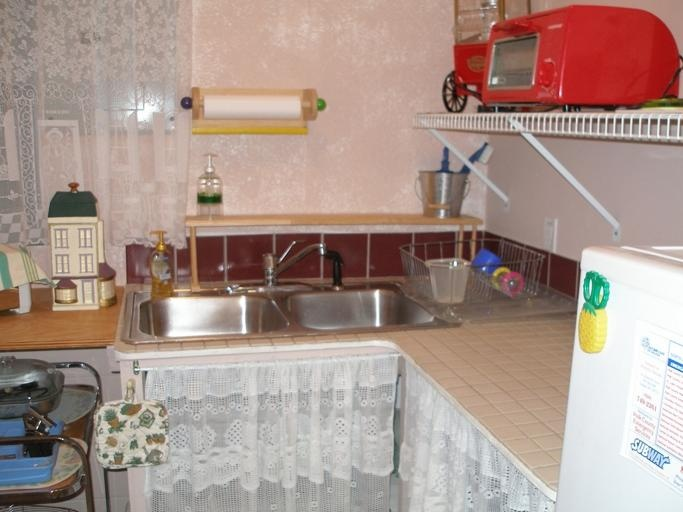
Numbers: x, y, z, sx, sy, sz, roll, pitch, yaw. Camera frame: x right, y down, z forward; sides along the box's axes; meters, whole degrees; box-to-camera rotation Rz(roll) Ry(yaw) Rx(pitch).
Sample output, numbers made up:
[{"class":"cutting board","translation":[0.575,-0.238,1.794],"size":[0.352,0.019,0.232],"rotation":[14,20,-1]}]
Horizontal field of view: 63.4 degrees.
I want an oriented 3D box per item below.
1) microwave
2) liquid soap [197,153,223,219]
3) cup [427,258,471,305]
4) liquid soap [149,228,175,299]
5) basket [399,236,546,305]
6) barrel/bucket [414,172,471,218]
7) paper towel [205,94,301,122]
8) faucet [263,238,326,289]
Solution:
[{"class":"microwave","translation":[0.659,-0.541,1.537],"size":[0.529,0.288,0.309],"rotation":[-2,9,17]},{"class":"liquid soap","translation":[-0.560,-0.294,2.345],"size":[0.121,0.256,0.172],"rotation":[-7,9,-14]},{"class":"cup","translation":[0.415,0.102,2.132],"size":[0.169,0.162,0.165],"rotation":[1,9,0]},{"class":"liquid soap","translation":[-0.737,0.036,2.236],"size":[0.089,0.272,0.122],"rotation":[-8,9,-20]},{"class":"basket","translation":[0.653,0.042,2.405],"size":[0.313,0.146,0.426],"rotation":[2,17,14]},{"class":"barrel/bucket","translation":[0.450,-0.274,2.527],"size":[0.206,0.165,0.205],"rotation":[0,5,0]},{"class":"paper towel","translation":[-0.368,-0.594,2.221],"size":[0.276,0.116,0.069],"rotation":[-3,14,-4]},{"class":"faucet","translation":[-0.198,0.030,2.386],"size":[0.272,0.187,0.057],"rotation":[-5,-2,-6]}]
